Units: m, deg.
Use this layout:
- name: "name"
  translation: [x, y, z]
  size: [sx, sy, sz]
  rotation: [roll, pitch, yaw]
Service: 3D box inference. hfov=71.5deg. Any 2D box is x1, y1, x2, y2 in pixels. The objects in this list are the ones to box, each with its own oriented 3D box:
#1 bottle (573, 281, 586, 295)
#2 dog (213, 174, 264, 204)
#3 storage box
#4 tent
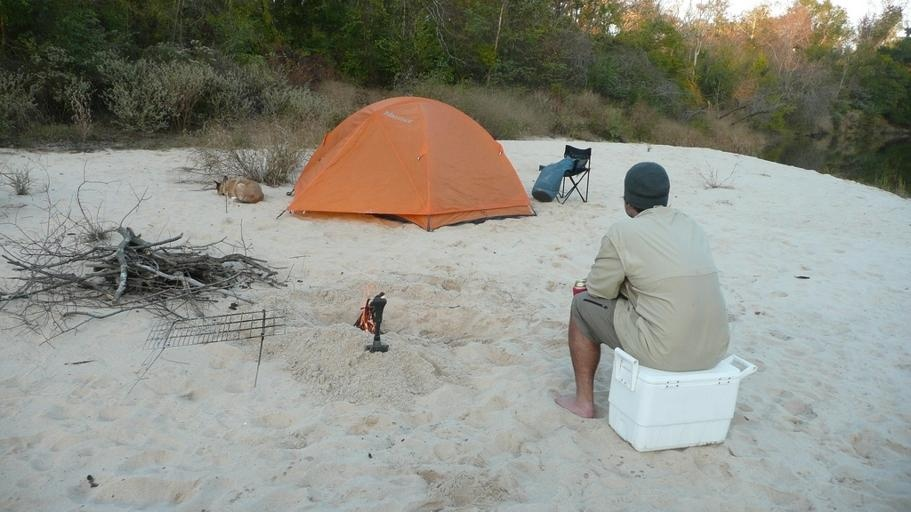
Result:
- name: "bottle"
  translation: [1.705, 0.442, 8.804]
  size: [0.195, 0.162, 0.187]
  rotation: [0, 0, -7]
- name: "dog"
  translation: [-4.431, -1.374, 12.990]
  size: [0.875, 0.350, 0.502]
  rotation: [20, -6, 24]
- name: "storage box"
  translation: [3.048, 2.029, 8.860]
  size: [2.155, 1.256, 1.139]
  rotation: [7, 5, -10]
- name: "tent"
  translation: [-0.750, -1.815, 12.623]
  size: [4.192, 2.206, 1.495]
  rotation: [1, 22, -1]
